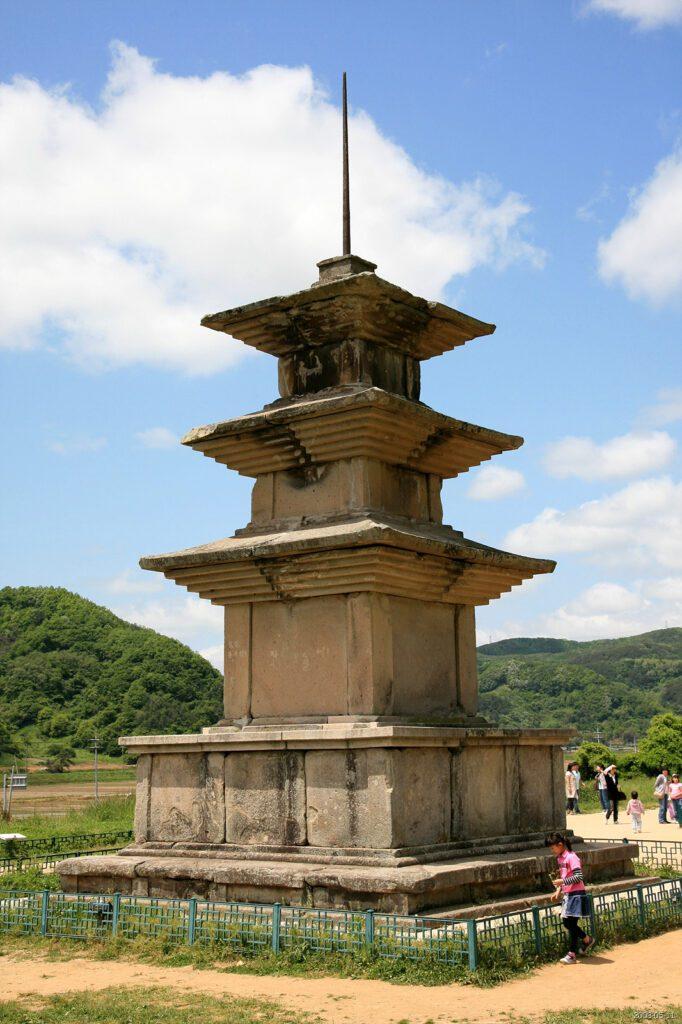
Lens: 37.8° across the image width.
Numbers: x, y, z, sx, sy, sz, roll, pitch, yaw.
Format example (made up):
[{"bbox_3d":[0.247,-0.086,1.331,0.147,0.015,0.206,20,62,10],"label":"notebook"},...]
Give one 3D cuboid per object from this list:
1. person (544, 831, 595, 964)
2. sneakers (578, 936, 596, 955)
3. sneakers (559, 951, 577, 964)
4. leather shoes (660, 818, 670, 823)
[{"bbox_3d":[2.007,3.427,8.756,0.538,1.286,0.469,1,-41,6],"label":"person"},{"bbox_3d":[2.049,3.609,8.270,0.081,0.097,0.219,-14,-50,-11],"label":"sneakers"},{"bbox_3d":[1.835,3.595,8.014,0.168,0.070,0.107,-1,-13,-12],"label":"sneakers"},{"bbox_3d":[7.238,6.922,22.304,0.172,0.091,0.602,-8,-14,16],"label":"leather shoes"}]
